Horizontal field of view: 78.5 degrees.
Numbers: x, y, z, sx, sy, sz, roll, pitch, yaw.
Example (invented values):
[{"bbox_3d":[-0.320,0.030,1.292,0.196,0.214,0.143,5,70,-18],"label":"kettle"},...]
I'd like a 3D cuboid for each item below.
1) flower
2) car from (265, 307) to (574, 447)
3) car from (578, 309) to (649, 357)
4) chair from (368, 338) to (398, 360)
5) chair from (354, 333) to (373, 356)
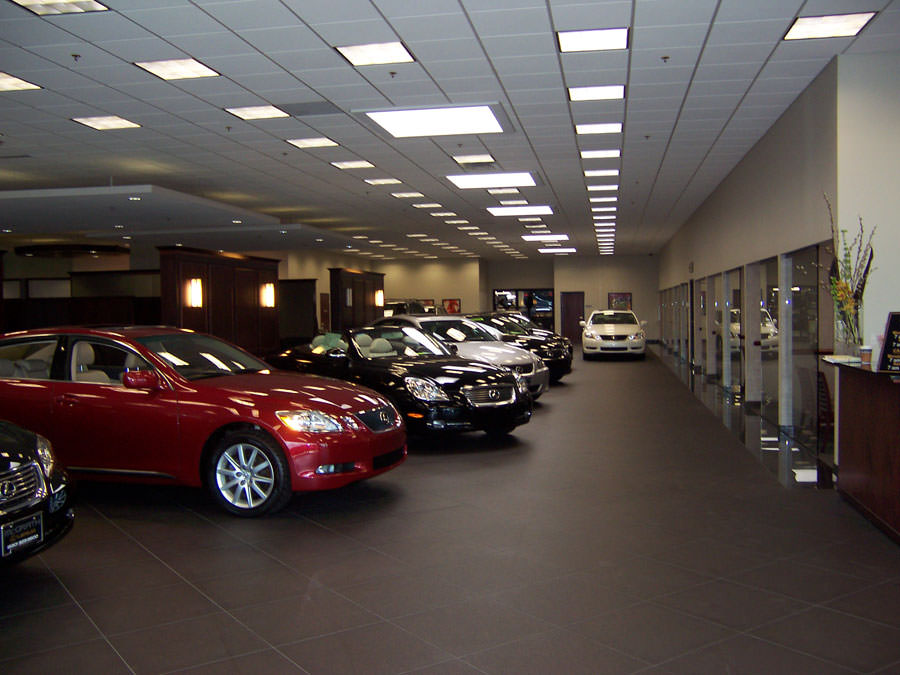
[{"bbox_3d":[4.435,-0.790,6.113,0.478,1.810,0.911,0,1,33],"label":"flower"},{"bbox_3d":[-0.698,0.469,7.311,3.343,0.917,1.530,0,0,31],"label":"car"},{"bbox_3d":[6.020,-0.089,20.174,2.051,1.641,1.929,0,1,14],"label":"car"},{"bbox_3d":[-0.857,0.133,7.377,0.313,0.276,0.330,2,3,38],"label":"chair"},{"bbox_3d":[-1.177,0.086,7.547,0.260,0.311,0.315,3,-2,-40],"label":"chair"}]
